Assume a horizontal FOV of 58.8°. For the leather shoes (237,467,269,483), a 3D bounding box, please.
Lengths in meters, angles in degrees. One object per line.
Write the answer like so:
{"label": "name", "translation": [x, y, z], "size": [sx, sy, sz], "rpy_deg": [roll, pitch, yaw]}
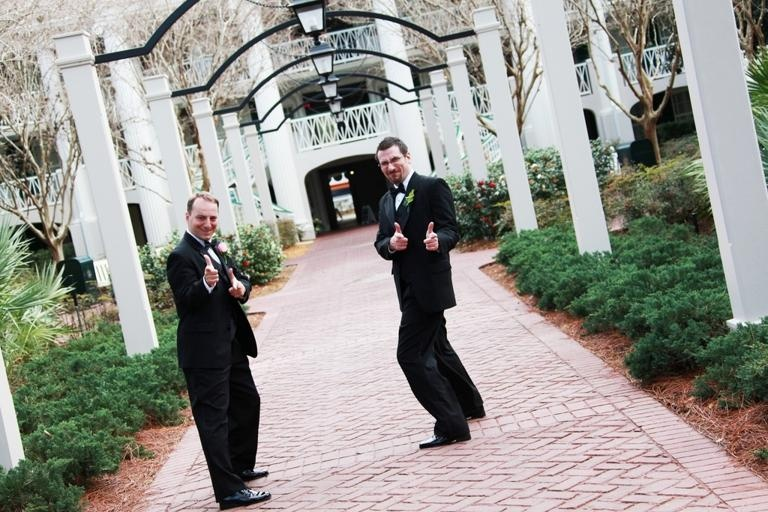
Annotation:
{"label": "leather shoes", "translation": [-1.178, 1.974, 6.188], "size": [0.283, 0.111, 0.094], "rpy_deg": [-7, 13, -19]}

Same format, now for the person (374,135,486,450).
{"label": "person", "translation": [0.418, 0.431, 6.181], "size": [0.761, 2.068, 0.636], "rpy_deg": [-11, 5, 0]}

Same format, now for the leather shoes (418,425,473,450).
{"label": "leather shoes", "translation": [0.542, 1.624, 6.103], "size": [0.524, 0.220, 0.177], "rpy_deg": [-1, -4, 7]}

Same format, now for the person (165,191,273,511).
{"label": "person", "translation": [-1.408, 0.785, 5.896], "size": [0.707, 2.523, 0.547], "rpy_deg": [-14, 6, -36]}
